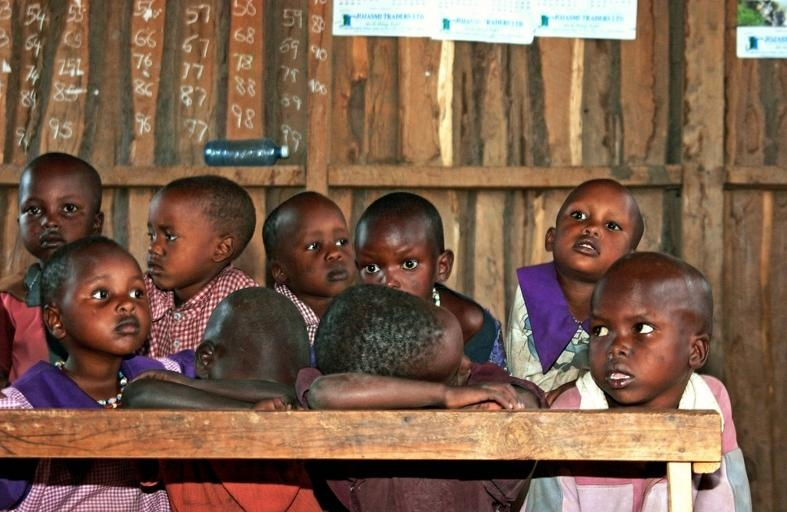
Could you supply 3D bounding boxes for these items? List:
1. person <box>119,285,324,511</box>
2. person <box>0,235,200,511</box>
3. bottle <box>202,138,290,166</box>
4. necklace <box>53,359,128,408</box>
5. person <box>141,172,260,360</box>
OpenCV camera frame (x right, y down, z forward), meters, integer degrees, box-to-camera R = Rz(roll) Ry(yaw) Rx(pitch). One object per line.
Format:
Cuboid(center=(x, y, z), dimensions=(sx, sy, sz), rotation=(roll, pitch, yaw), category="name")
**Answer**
Cuboid(center=(-0.623, 0.595, 4.859), dimensions=(0.709, 0.989, 0.904), rotation=(11, -1, -28), category="person")
Cuboid(center=(-1.244, 0.532, 4.759), dimensions=(0.312, 1.037, 1.184), rotation=(-4, -2, 27), category="person")
Cuboid(center=(-0.832, -0.590, 6.362), dimensions=(0.516, 0.181, 0.181), rotation=(0, 32, 2), category="bottle")
Cuboid(center=(-1.268, 0.577, 4.913), dimensions=(0.275, 0.083, 0.228), rotation=(10, 8, 43), category="necklace")
Cuboid(center=(-0.932, 0.057, 5.384), dimensions=(0.447, 0.762, 0.898), rotation=(3, -1, -30), category="person")
